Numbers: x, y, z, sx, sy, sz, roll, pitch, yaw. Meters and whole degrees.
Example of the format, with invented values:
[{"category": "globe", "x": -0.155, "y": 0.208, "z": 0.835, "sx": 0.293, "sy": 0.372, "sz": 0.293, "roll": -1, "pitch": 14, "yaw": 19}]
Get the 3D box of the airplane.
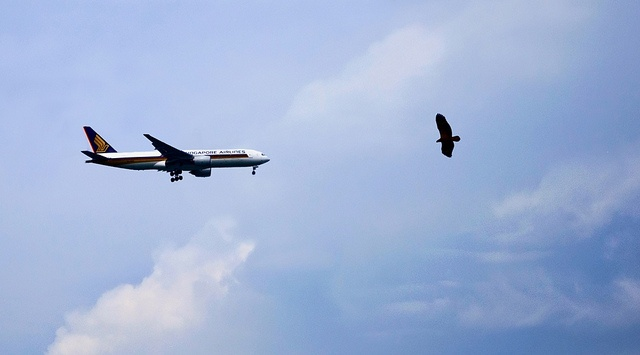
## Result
[{"category": "airplane", "x": -27.818, "y": -3.673, "z": 195.103, "sx": 30.430, "sy": 6.443, "sz": 6.422, "roll": 0, "pitch": -59, "yaw": -11}]
